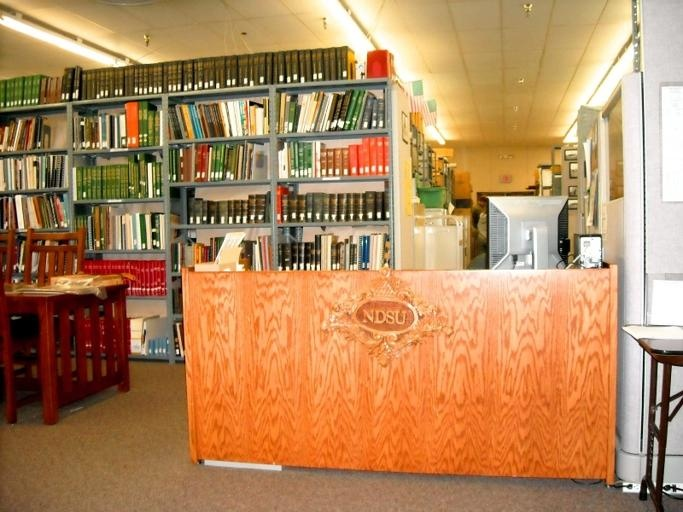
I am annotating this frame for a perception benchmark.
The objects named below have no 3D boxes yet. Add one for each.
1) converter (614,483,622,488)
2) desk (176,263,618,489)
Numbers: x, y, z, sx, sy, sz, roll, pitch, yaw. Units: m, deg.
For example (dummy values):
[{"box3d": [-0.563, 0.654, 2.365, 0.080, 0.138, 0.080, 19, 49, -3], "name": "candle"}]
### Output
[{"box3d": [1.522, 1.257, 3.196, 0.026, 0.010, 0.037, 0, 0, 12], "name": "converter"}, {"box3d": [0.343, 0.664, 3.647, 2.430, 1.135, 0.923, -2, 0, 13], "name": "desk"}]
